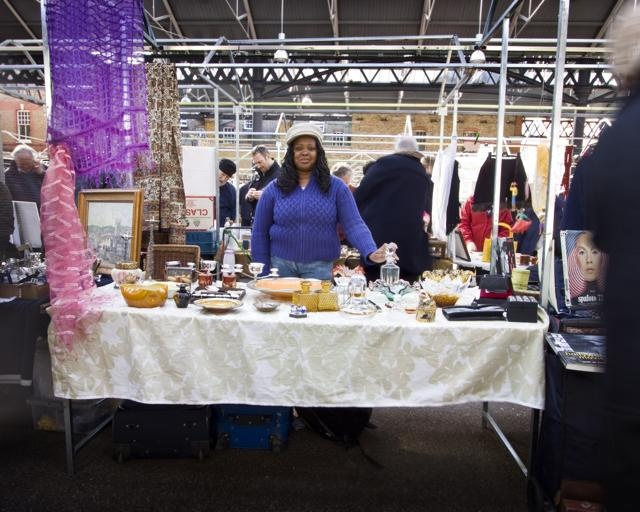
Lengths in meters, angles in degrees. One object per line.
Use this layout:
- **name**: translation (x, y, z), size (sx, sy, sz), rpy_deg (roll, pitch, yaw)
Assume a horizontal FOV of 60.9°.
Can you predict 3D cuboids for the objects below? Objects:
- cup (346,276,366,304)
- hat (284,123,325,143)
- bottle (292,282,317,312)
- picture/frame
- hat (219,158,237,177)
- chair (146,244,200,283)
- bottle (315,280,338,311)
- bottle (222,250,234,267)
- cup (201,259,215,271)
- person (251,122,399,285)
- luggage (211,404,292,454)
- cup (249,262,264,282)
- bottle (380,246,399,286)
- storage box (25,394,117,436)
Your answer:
- **cup**: translation (0.193, 0.174, 2.812), size (0.117, 0.202, 0.117), rpy_deg (0, -1, 0)
- **hat**: translation (-0.098, -0.766, 3.382), size (0.230, 0.135, 0.223), rpy_deg (1, 11, -1)
- **bottle**: translation (-0.077, 0.202, 2.883), size (0.135, 0.203, 0.140), rpy_deg (1, 8, 0)
- **picture/frame**: translation (-1.261, -0.164, 3.251), size (0.459, 0.554, 0.058), rpy_deg (2, 5, 13)
- **hat**: translation (-1.123, -1.074, 6.610), size (0.152, 0.226, 0.166), rpy_deg (11, 6, 24)
- **chair**: translation (-0.959, 0.010, 3.533), size (0.347, 0.368, 0.208), rpy_deg (1, 1, -3)
- **bottle**: translation (0.039, 0.219, 2.948), size (0.124, 0.188, 0.130), rpy_deg (0, 0, 0)
- **bottle**: translation (-0.541, 0.014, 3.202), size (0.085, 0.119, 0.065), rpy_deg (4, 20, 1)
- **cup**: translation (-0.647, 0.059, 3.137), size (0.075, 0.080, 0.135), rpy_deg (-2, 12, -16)
- **person**: translation (-0.030, -0.333, 3.387), size (0.825, 0.963, 0.252), rpy_deg (4, 11, 16)
- **luggage**: translation (-0.424, 1.042, 3.318), size (0.366, 0.158, 0.295), rpy_deg (1, 4, 2)
- **cup**: translation (-0.371, 0.094, 3.198), size (0.095, 0.148, 0.097), rpy_deg (4, 4, 0)
- **bottle**: translation (0.416, 0.081, 3.206), size (0.097, 0.215, 0.101), rpy_deg (2, -23, 1)
- **storage box**: translation (-1.671, 1.027, 3.568), size (0.432, 0.169, 0.331), rpy_deg (2, 4, 9)
